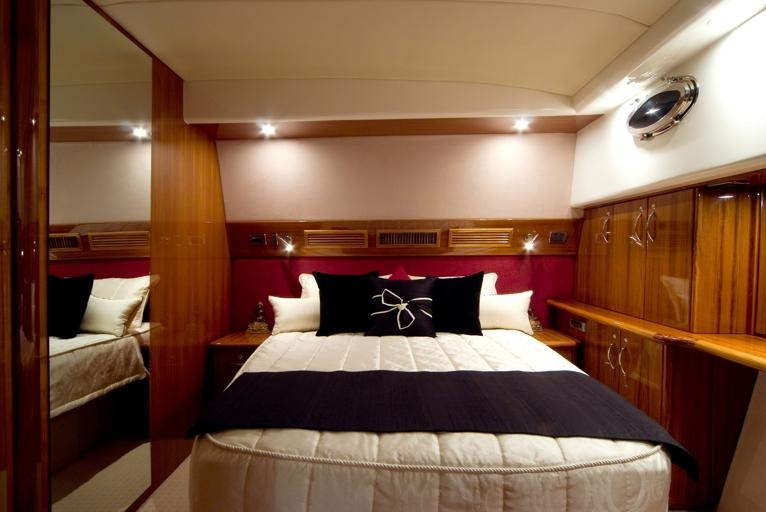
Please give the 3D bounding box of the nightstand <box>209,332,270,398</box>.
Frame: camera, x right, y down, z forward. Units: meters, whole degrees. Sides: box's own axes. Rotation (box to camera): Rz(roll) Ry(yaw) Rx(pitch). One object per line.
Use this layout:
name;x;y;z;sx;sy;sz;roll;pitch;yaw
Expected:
nightstand;-1.339;1.066;4.736;0.396;0.719;0.602;0;2;0

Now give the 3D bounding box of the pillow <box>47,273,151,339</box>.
pillow;-2.034;0.372;3.612;0.394;0.436;0.125;9;-6;2
